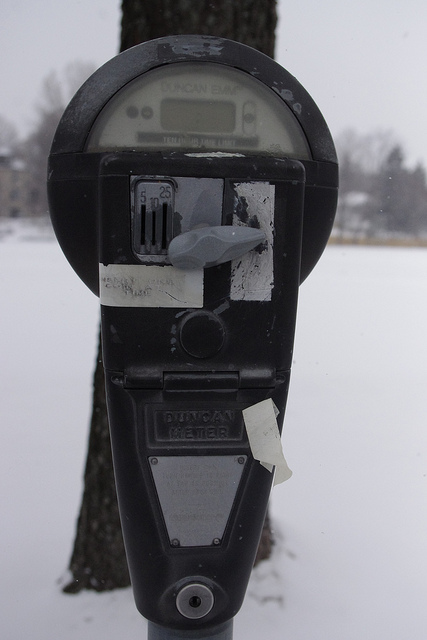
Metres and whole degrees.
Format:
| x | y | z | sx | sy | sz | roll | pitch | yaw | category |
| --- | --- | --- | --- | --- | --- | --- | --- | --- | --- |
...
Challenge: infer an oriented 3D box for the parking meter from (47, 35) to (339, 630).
| x | y | z | sx | sy | sz | roll | pitch | yaw | category |
| --- | --- | --- | --- | --- | --- | --- | --- | --- | --- |
| -0.090 | 0.039 | 1.640 | 0.626 | 1.281 | 0.398 | 5 | 13 | 10 | parking meter |
